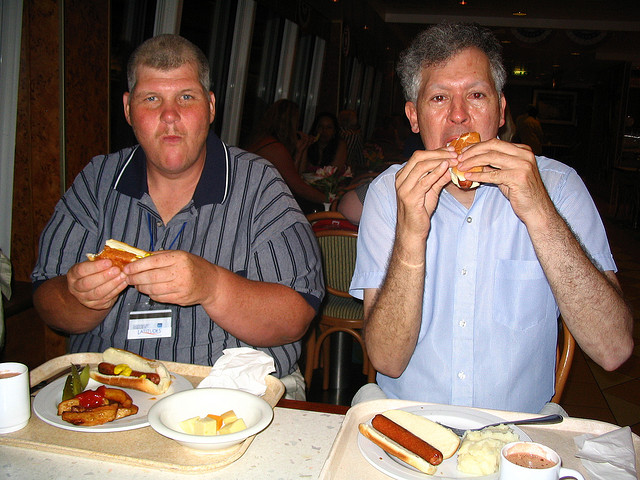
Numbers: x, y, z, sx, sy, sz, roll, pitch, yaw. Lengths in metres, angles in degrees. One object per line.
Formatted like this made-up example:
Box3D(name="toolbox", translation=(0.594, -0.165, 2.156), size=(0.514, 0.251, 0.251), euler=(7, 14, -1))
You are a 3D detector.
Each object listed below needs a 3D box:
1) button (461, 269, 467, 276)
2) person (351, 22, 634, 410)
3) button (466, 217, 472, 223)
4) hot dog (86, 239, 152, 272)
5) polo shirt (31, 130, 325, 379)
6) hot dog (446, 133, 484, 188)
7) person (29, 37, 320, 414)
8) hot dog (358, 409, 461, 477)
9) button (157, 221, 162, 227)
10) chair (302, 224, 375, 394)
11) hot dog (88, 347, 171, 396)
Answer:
Box3D(name="button", translation=(0.556, 0.125, 1.786), size=(0.021, 0.023, 0.012), euler=(5, 7, 18))
Box3D(name="person", translation=(0.636, -0.112, 1.808), size=(0.986, 1.519, 0.579), euler=(3, 6, 2))
Box3D(name="button", translation=(0.589, -0.077, 1.825), size=(0.020, 0.021, 0.005), euler=(3, -6, 5))
Box3D(name="hot dog", translation=(-0.729, 0.065, 1.702), size=(0.221, 0.136, 0.055), euler=(23, -18, 25))
Box3D(name="polo shirt", translation=(-0.608, 0.033, 2.070), size=(1.275, 1.055, 0.492), euler=(4, 7, 9))
Box3D(name="hot dog", translation=(0.531, -0.290, 1.726), size=(0.057, 0.192, 0.194), euler=(8, 27, 45))
Box3D(name="person", translation=(-0.626, -0.095, 1.998), size=(1.077, 1.529, 0.877), euler=(9, 9, 41))
Box3D(name="hot dog", translation=(0.248, 0.521, 1.235), size=(0.205, 0.058, 0.135), euler=(20, 25, 32))
Box3D(name="button", translation=(-0.702, -0.070, 2.023), size=(0.020, 0.015, 0.020), euler=(9, -25, -18))
Box3D(name="chair", translation=(0.194, 0.554, 3.703), size=(0.695, 1.382, 0.654), euler=(3, -1, 12))
Box3D(name="hot dog", translation=(-0.648, 0.459, 1.669), size=(0.359, 0.128, 0.116), euler=(8, -23, 28))
